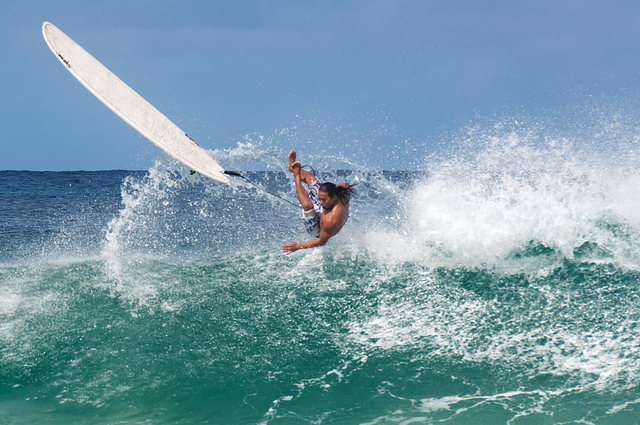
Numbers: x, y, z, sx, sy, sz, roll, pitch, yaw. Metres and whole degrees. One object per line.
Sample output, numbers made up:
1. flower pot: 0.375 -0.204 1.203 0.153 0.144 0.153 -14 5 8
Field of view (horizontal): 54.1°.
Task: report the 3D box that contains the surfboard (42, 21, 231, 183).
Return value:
1. surfboard: -5.767 -2.851 19.953 0.722 6.679 1.358 -44 3 47
